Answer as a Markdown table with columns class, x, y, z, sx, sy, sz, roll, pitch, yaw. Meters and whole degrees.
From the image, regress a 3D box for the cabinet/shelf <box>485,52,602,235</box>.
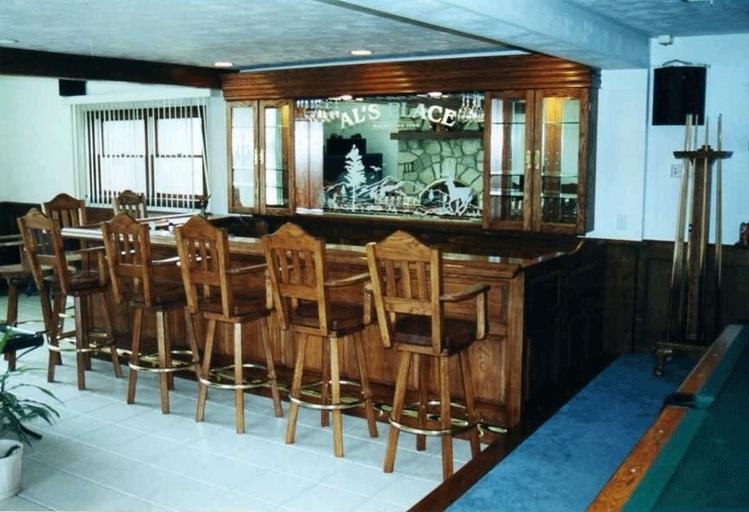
| class | x | y | z | sx | sy | sz | roll | pitch | yaw |
| --- | --- | --- | --- | --- | --- | --- | --- | --- | --- |
| cabinet/shelf | 1.528 | -1.052 | 5.563 | 1.056 | 1.638 | 0.302 | 5 | 18 | 25 |

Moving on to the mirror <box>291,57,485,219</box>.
| class | x | y | z | sx | sy | sz | roll | pitch | yaw |
| --- | --- | --- | --- | --- | --- | --- | --- | --- | --- |
| mirror | 0.159 | -1.147 | 6.757 | 3.131 | 1.639 | 0.070 | 10 | 19 | 39 |

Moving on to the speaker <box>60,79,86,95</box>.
| class | x | y | z | sx | sy | sz | roll | pitch | yaw |
| --- | --- | --- | --- | --- | --- | --- | --- | --- | --- |
| speaker | -4.587 | -2.519 | 8.803 | 0.630 | 0.249 | 0.199 | 7 | 18 | 32 |

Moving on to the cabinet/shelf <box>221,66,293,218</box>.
| class | x | y | z | sx | sy | sz | roll | pitch | yaw |
| --- | --- | --- | --- | --- | --- | --- | --- | --- | --- |
| cabinet/shelf | -1.413 | -1.333 | 6.976 | 1.006 | 1.649 | 0.300 | 5 | 18 | 23 |
